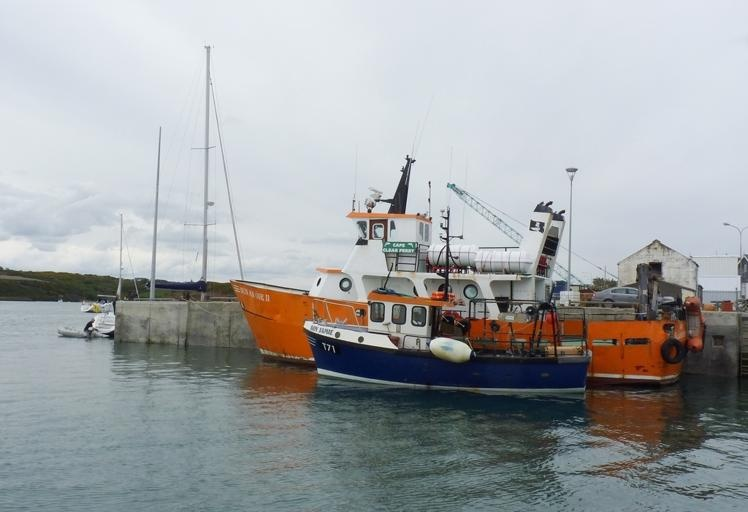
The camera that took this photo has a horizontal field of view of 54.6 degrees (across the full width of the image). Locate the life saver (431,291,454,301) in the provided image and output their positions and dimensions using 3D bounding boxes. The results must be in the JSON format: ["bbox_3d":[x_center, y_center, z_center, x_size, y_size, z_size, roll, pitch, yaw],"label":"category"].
[{"bbox_3d":[2.555,1.445,26.710,0.453,0.194,0.587,2,5,24],"label":"life saver"}]

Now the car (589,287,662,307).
[{"bbox_3d":[12.545,2.254,35.754,3.470,1.105,1.466,-2,0,5],"label":"car"}]

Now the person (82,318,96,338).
[{"bbox_3d":[-17.665,4.431,44.975,0.393,1.036,1.033,-2,-8,-19],"label":"person"}]
